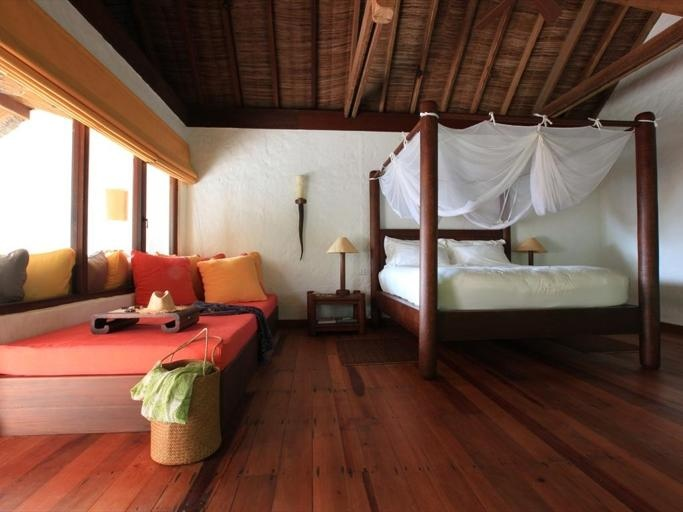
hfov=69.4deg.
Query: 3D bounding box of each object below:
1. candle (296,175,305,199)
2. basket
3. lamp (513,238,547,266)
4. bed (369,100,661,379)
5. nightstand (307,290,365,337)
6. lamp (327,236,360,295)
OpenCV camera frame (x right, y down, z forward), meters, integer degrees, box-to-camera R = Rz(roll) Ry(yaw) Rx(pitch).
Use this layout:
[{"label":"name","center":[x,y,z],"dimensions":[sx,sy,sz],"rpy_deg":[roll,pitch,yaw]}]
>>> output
[{"label":"candle","center":[-0.498,-0.846,6.037],"dimensions":[0.132,0.236,0.110],"rpy_deg":[-4,1,-8]},{"label":"basket","center":[-0.978,1.055,3.420],"dimensions":[0.514,0.540,0.510],"rpy_deg":[1,0,21]},{"label":"lamp","center":[2.377,-0.024,6.309],"dimensions":[0.344,0.357,0.352],"rpy_deg":[-1,-4,-5]},{"label":"bed","center":[1.591,-0.163,5.261],"dimensions":[2.266,2.068,2.005],"rpy_deg":[-5,-2,-6]},{"label":"nightstand","center":[-0.072,0.671,5.813],"dimensions":[0.680,0.471,0.498],"rpy_deg":[-1,3,-12]},{"label":"lamp","center":[0.012,0.108,5.900],"dimensions":[0.338,0.566,0.462],"rpy_deg":[-4,1,-1]}]
